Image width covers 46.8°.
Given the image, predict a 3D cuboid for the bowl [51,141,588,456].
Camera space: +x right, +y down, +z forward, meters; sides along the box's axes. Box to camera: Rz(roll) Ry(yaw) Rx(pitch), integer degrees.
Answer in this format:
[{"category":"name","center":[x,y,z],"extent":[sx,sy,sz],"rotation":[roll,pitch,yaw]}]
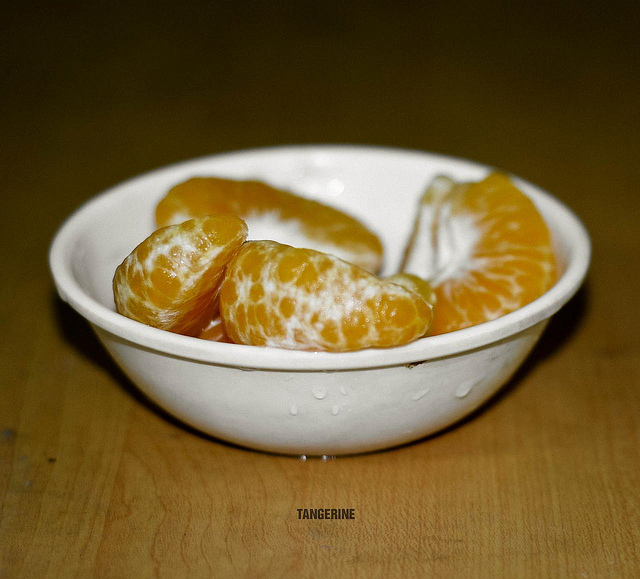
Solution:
[{"category":"bowl","center":[-0.002,-0.030,0.844],"extent":[0.566,0.226,0.465],"rotation":[-3,42,-3]}]

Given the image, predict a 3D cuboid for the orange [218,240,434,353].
[{"category":"orange","center":[0.001,0.001,0.668],"extent":[0.162,0.101,0.059],"rotation":[8,22,11]}]
